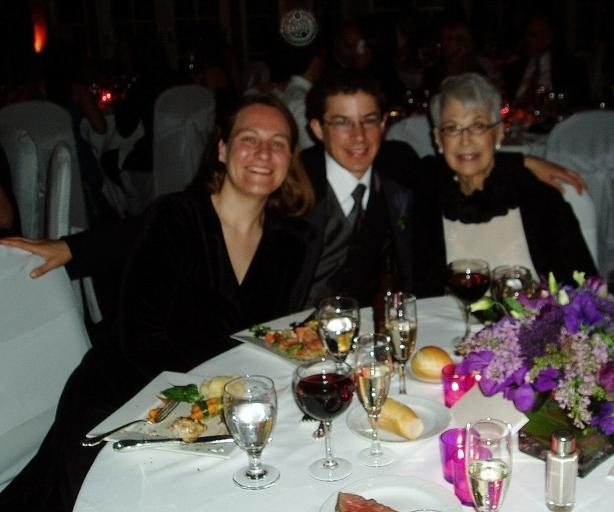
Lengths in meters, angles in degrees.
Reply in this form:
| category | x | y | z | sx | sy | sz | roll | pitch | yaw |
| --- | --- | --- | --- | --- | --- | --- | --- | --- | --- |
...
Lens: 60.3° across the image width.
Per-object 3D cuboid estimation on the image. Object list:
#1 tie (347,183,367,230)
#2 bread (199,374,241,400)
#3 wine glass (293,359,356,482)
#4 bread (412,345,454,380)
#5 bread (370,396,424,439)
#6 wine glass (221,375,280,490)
| category | x | y | z | sx | sy | sz | roll | pitch | yaw |
| --- | --- | --- | --- | --- | --- | --- | --- | --- | --- |
| tie | 0.274 | -0.242 | 2.714 | 0.067 | 0.266 | 0.039 | 7 | -11 | 6 |
| bread | -0.218 | 0.340 | 1.364 | 0.102 | 0.069 | 0.041 | -17 | -32 | 10 |
| wine glass | 0.040 | 0.365 | 1.163 | 0.145 | 0.268 | 0.144 | 11 | 20 | 41 |
| bread | 0.351 | 0.277 | 1.486 | 0.101 | 0.085 | 0.076 | 15 | 19 | 43 |
| bread | 0.220 | 0.368 | 1.215 | 0.058 | 0.051 | 0.113 | -8 | 14 | -19 |
| wine glass | -0.116 | 0.357 | 1.157 | 0.112 | 0.193 | 0.252 | -7 | 13 | -5 |
